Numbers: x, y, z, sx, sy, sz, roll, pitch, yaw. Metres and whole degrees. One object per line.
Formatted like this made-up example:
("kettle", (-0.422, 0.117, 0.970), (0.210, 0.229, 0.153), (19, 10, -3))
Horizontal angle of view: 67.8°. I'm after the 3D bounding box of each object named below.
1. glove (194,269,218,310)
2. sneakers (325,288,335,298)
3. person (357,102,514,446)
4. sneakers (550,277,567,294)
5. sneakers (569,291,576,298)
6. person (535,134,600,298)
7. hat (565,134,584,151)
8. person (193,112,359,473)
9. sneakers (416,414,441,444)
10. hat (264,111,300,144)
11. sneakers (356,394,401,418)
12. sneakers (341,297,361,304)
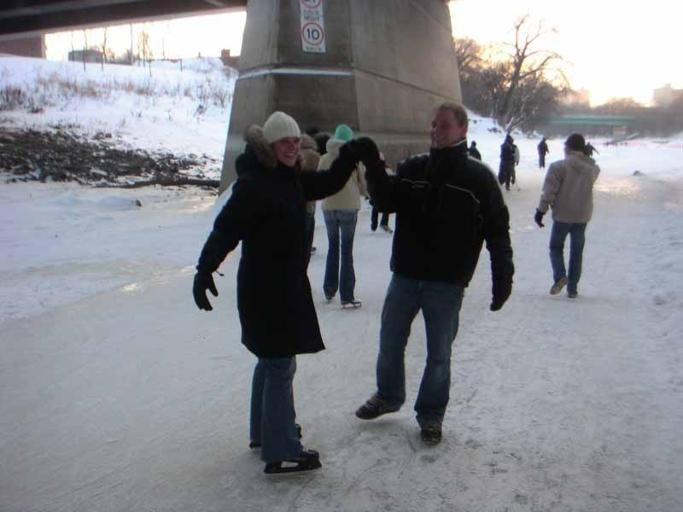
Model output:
("glove", (-0.991, 0.256, 3.681), (0.154, 0.403, 0.437), (-1, 12, -16))
("sneakers", (-0.156, 0.497, 7.067), (0.149, 0.226, 0.125), (0, 3, -2))
("person", (0.756, 0.114, 4.085), (1.178, 2.624, 0.683), (6, 11, 19))
("sneakers", (3.189, 0.432, 7.380), (0.090, 0.220, 0.097), (35, 2, -8))
("sneakers", (3.341, 0.554, 7.288), (0.048, 0.056, 0.111), (2, -15, 11))
("person", (3.292, -0.620, 7.439), (0.730, 2.317, 0.866), (8, 12, 28))
("hat", (3.397, -1.612, 7.396), (0.196, 0.285, 0.276), (6, -23, 7))
("person", (-0.542, 0.212, 3.890), (0.901, 2.556, 0.951), (3, 11, 4))
("sneakers", (0.714, 1.362, 4.018), (0.205, 0.182, 0.187), (3, 11, 2))
("hat", (-0.420, -0.934, 3.707), (0.231, 0.212, 0.236), (-8, 0, -33))
("sneakers", (0.295, 1.258, 4.313), (0.438, 0.218, 0.164), (-2, 1, -15))
("sneakers", (0.138, 0.600, 6.866), (0.259, 0.116, 0.097), (1, 1, -10))
